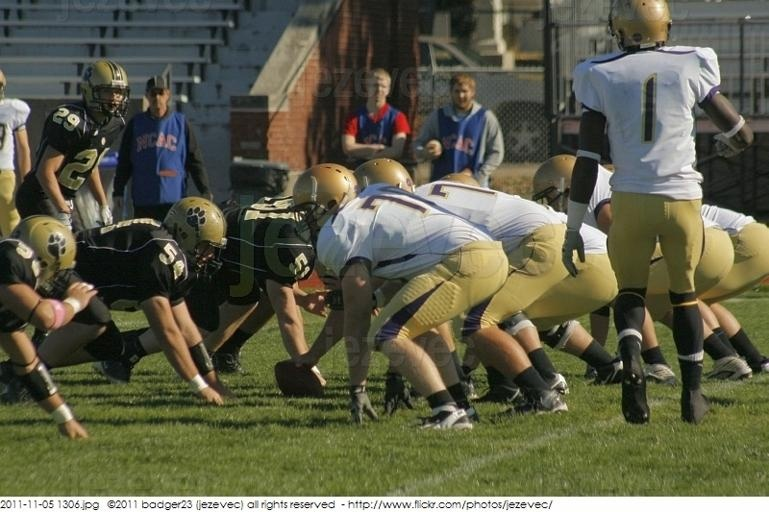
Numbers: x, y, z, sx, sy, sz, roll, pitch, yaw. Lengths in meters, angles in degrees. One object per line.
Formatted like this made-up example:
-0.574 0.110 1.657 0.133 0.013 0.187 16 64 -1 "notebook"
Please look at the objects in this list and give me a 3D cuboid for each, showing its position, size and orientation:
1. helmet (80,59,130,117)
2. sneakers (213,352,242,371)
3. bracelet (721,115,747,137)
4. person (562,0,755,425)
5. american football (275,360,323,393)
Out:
-2.236 -1.345 11.205 0.449 0.422 0.329 12 11 39 "helmet"
-1.252 0.852 11.206 0.201 0.209 0.126 -2 9 -7 "sneakers"
2.450 -0.892 9.903 0.142 0.044 0.133 -38 4 10 "bracelet"
1.861 -0.135 9.841 1.224 2.610 0.499 -1 5 6 "person"
-0.688 0.930 10.488 0.443 0.171 0.187 9 9 -5 "american football"
